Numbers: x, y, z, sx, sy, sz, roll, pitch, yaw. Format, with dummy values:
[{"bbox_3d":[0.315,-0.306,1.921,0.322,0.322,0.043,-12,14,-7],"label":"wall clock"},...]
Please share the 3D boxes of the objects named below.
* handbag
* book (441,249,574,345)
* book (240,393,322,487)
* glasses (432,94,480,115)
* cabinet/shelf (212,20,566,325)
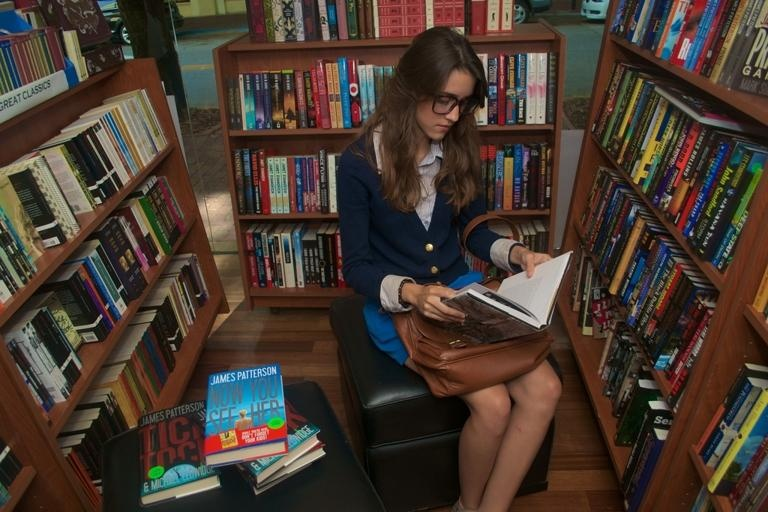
[{"bbox_3d":[0.334,0.287,1.871,0.396,0.143,0.353,-10,41,-10],"label":"handbag"},{"bbox_3d":[0.395,0.138,1.847,0.382,0.361,0.148,-14,72,-40],"label":"book"},{"bbox_3d":[-0.311,0.610,1.708,0.195,0.045,0.187,-19,31,-32],"label":"book"},{"bbox_3d":[0.279,-0.588,2.000,0.197,0.089,0.057,-21,32,-29],"label":"glasses"},{"bbox_3d":[0.041,-0.465,2.547,1.718,1.545,0.606,-2,20,-1],"label":"cabinet/shelf"}]
